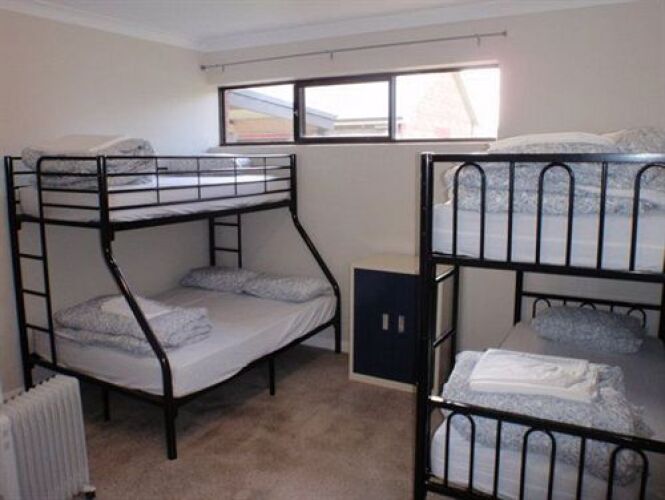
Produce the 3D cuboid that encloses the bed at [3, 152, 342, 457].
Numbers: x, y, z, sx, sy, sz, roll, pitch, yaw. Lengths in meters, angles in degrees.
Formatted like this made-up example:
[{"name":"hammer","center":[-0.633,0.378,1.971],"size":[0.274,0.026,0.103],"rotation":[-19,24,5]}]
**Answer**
[{"name":"bed","center":[-1.180,0.179,4.534],"size":[1.622,1.911,2.111],"rotation":[6,14,31]}]
